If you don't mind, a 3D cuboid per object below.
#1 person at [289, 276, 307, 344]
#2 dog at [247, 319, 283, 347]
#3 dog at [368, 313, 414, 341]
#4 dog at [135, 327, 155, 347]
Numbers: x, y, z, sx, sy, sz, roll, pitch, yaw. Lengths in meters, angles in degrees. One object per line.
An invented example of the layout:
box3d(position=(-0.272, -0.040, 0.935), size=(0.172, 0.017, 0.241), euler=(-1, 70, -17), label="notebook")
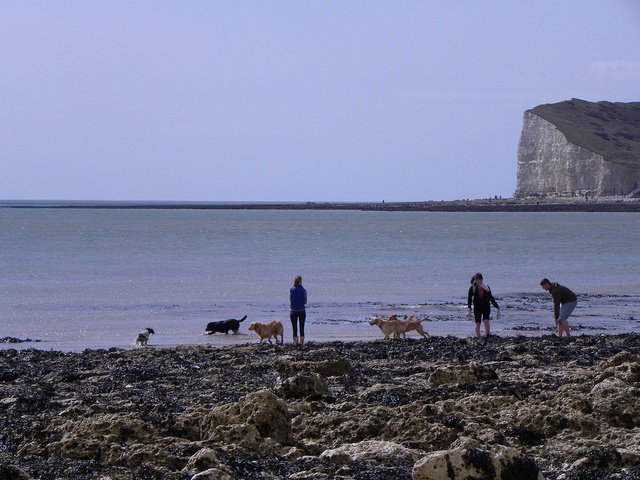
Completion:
box3d(position=(-1.026, 3.449, 65.954), size=(0.791, 3.272, 1.152), euler=(-2, -6, -2), label="person")
box3d(position=(-2.536, 4.562, 66.033), size=(1.541, 1.132, 1.476), euler=(-2, -6, 0), label="dog")
box3d(position=(3.513, 4.321, 66.003), size=(1.990, 1.136, 0.728), euler=(-2, -6, 2), label="dog")
box3d(position=(-8.465, 4.759, 65.690), size=(0.441, 0.834, 0.828), euler=(-5, -7, 28), label="dog")
